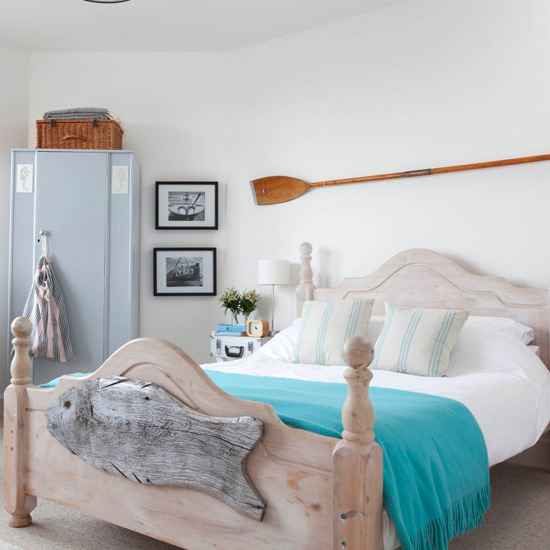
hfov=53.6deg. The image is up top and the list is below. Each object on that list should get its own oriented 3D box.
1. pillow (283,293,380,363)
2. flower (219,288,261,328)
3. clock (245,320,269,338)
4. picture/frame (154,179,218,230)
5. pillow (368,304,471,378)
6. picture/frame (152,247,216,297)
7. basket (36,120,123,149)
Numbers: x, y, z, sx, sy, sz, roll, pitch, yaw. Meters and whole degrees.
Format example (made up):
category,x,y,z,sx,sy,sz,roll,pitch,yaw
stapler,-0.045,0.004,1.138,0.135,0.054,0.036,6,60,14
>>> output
category,x,y,z,sx,sy,sz,roll,pitch,yaw
pillow,0.315,0.302,3.036,0.433,0.363,0.123,-4,-30,41
flower,-0.245,0.241,4.138,0.272,0.302,0.329,-1,-2,29
clock,-0.123,0.372,3.872,0.167,0.126,0.116,-1,-5,14
picture/frame,-0.686,-0.529,4.218,0.431,0.282,0.016,0,-3,0
pillow,0.707,0.304,2.684,0.117,0.351,0.394,35,-17,-32
picture/frame,-0.702,-0.014,4.192,0.429,0.297,0.017,0,-4,-2
basket,-1.453,-1.027,3.999,0.353,0.120,0.330,0,1,-2
